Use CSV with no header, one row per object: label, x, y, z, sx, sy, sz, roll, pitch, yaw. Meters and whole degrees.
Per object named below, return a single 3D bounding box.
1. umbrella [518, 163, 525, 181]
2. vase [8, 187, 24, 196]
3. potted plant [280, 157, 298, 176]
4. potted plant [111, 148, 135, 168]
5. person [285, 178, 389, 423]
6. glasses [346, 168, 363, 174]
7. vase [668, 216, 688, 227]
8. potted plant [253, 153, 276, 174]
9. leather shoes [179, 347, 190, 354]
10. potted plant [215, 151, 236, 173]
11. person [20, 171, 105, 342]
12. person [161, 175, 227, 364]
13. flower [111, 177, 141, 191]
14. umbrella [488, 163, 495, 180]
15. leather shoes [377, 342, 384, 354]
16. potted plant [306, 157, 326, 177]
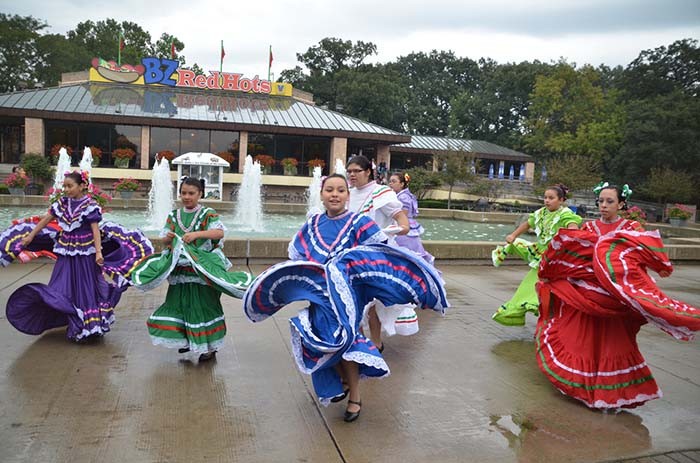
umbrella,14.848,-5.183,43.732,0.469,1.339,1.045,8,13,19
vase,-14.336,-1.758,21.746,0.423,0.231,0.470,0,-4,0
potted plant,-3.837,-4.211,32.453,1.278,1.177,1.068,1,7,-4
potted plant,-13.578,-4.418,30.022,1.309,1.162,1.266,1,-2,14
person,-0.099,0.959,5.684,1.150,3.667,1.044,-5,22,-3
glasses,0.048,-0.681,5.689,0.188,0.053,0.072,8,13,23
vase,15.538,-0.482,23.981,0.609,0.271,0.603,4,-2,-35
potted plant,-5.469,-4.267,31.784,1.327,1.230,1.272,5,10,22
leather shoes,-1.882,1.335,5.756,0.078,0.060,0.191,7,-14,-37
potted plant,-7.495,-4.393,31.619,1.281,1.279,1.212,1,6,24
person,-3.342,0.290,5.882,1.010,1.897,0.714,-2,13,-21
person,-1.684,0.408,5.657,1.062,1.985,0.674,3,12,1
flower,-10.579,-2.230,24.407,1.254,0.648,1.217,0,-3,28
umbrella,12.160,-5.273,43.564,0.543,1.071,1.704,7,12,15
leather shoes,0.363,1.381,6.037,0.119,0.086,0.150,-2,24,-1
potted plant,-2.142,-4.108,32.280,1.271,1.014,3.378,2,11,-4
